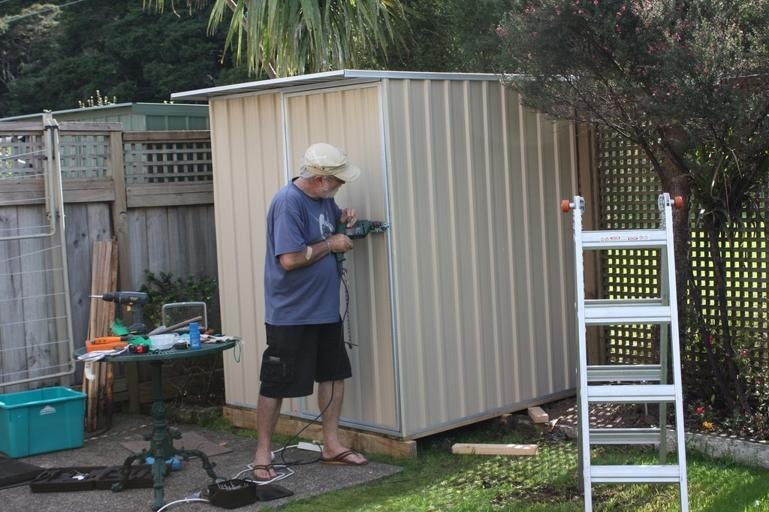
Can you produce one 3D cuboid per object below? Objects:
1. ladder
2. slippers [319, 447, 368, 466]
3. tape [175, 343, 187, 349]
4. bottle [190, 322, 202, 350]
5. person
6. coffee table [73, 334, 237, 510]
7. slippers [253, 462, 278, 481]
[{"bbox_3d":[1.926,0.719,7.864,0.926,2.400,1.446,0,1,17],"label":"ladder"},{"bbox_3d":[-0.340,1.707,8.491,0.300,0.101,0.155,-1,1,9],"label":"slippers"},{"bbox_3d":[-1.615,0.705,7.831,0.051,0.030,0.054,0,0,5],"label":"tape"},{"bbox_3d":[-1.517,0.629,7.888,0.083,0.189,0.147,-1,1,-10],"label":"bottle"},{"bbox_3d":[-0.678,0.419,8.606,0.982,2.801,1.022,0,0,28],"label":"person"},{"bbox_3d":[-1.838,1.354,8.011,1.669,1.536,1.089,2,-4,5],"label":"coffee table"},{"bbox_3d":[-1.003,1.782,8.247,0.200,0.125,0.143,-1,1,-7],"label":"slippers"}]
